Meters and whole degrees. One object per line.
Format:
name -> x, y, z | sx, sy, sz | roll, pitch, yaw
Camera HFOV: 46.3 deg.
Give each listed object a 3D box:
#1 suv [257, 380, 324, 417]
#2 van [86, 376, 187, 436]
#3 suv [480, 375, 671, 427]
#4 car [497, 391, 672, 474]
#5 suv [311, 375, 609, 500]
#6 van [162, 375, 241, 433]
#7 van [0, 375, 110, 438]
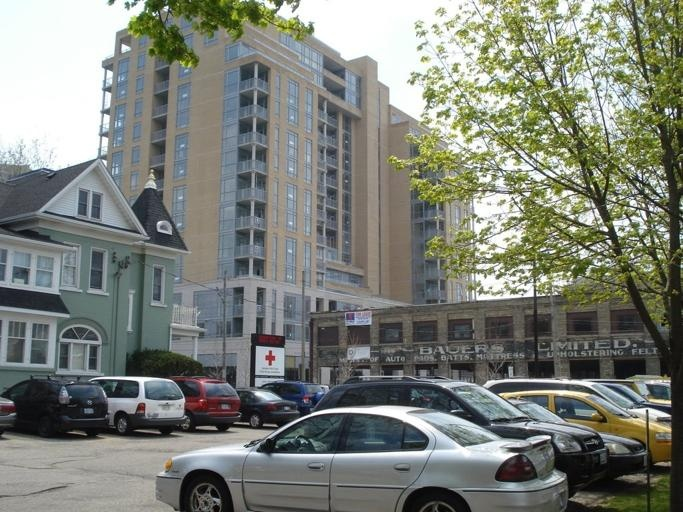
suv -> -2.014, 6.078, 34.021 | 3.198, 1.126, 1.512 | 0, -7, 31
van -> -6.644, 4.711, 25.825 | 3.133, 1.113, 1.611 | -1, -8, 38
suv -> 5.614, 3.409, 20.396 | 4.288, 1.213, 2.046 | -5, -9, 22
car -> 5.519, 4.038, 18.809 | 4.021, 1.132, 1.839 | -5, -9, 29
suv -> 2.015, 3.471, 15.659 | 5.656, 1.603, 2.322 | -6, -12, 22
van -> -4.980, 5.059, 27.456 | 2.829, 1.052, 1.425 | -3, -8, 35
van -> -8.697, 4.600, 24.292 | 2.729, 1.760, 1.134 | -6, -14, 22
